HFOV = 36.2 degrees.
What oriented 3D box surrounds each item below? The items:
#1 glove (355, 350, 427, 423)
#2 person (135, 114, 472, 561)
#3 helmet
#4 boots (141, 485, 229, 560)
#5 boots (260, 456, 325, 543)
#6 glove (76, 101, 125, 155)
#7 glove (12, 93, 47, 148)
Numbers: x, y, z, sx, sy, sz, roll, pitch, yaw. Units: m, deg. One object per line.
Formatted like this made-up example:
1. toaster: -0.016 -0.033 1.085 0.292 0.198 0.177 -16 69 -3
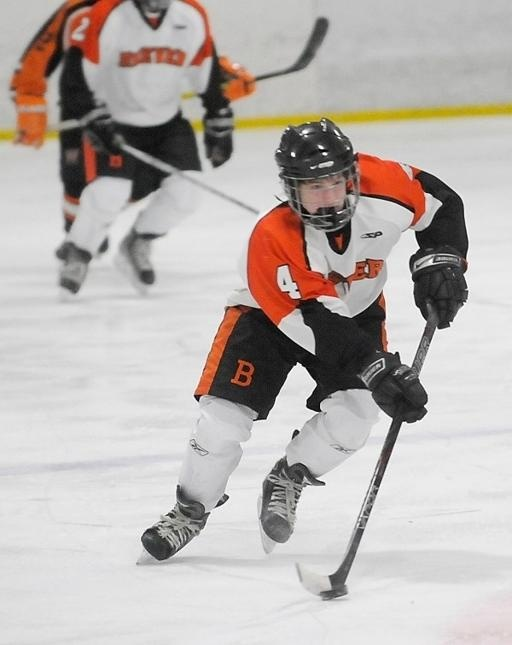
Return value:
1. glove: 0.250 0.119 1.485 0.161 0.092 0.067 44 -9 -1
2. person: 0.143 0.054 1.651 0.814 0.879 0.635 -6 17 -17
3. helmet: 0.121 -0.296 1.589 0.189 0.180 0.196 -5 28 5
4. boots: -0.154 0.422 1.699 0.070 0.082 0.209 43 44 13
5. boots: 0.083 0.401 1.753 0.067 0.136 0.171 32 50 -23
6. glove: -0.639 -0.799 3.257 0.153 0.185 0.131 1 23 -25
7. glove: -0.942 -0.841 3.292 0.136 0.225 0.187 5 21 -16
